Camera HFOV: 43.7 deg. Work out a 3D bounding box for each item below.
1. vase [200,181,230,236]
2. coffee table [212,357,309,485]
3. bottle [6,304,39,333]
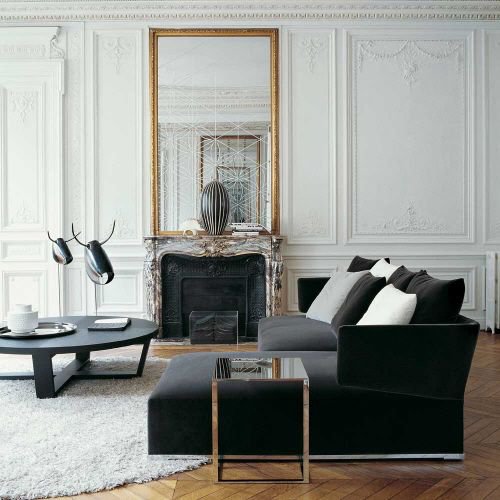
[{"bbox_3d":[-0.328,-0.399,5.880,0.244,0.512,0.137,-3,6,-21],"label":"vase"},{"bbox_3d":[0.062,0.884,3.266,0.496,0.574,0.389,-1,6,2],"label":"coffee table"},{"bbox_3d":[-1.545,0.474,4.333,0.227,0.172,0.203,3,7,-4],"label":"bottle"}]
